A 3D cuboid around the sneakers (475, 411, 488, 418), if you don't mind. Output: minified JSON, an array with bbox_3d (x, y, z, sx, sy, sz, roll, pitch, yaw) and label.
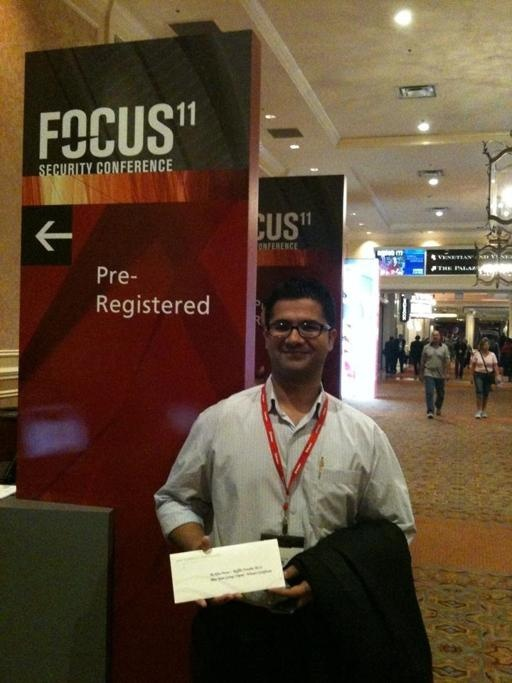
[{"bbox_3d":[4.600,1.481,11.072,0.125,0.135,0.343,-4,-13,17],"label":"sneakers"}]

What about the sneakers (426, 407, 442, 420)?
[{"bbox_3d":[3.629,1.486,11.063,0.206,0.279,0.674,-2,-18,10],"label":"sneakers"}]
